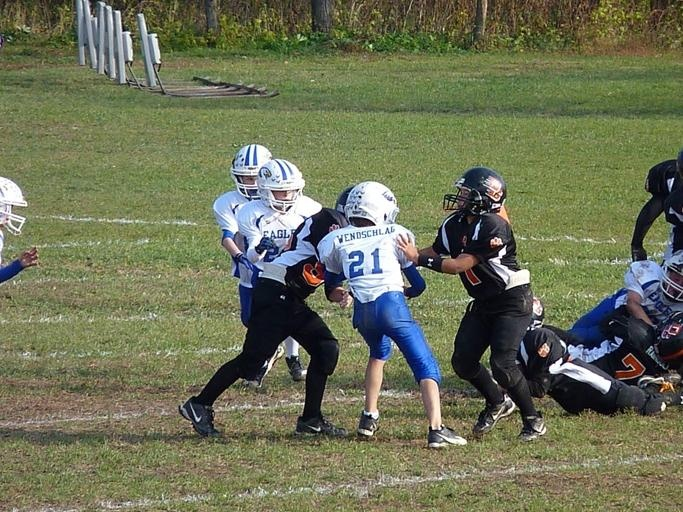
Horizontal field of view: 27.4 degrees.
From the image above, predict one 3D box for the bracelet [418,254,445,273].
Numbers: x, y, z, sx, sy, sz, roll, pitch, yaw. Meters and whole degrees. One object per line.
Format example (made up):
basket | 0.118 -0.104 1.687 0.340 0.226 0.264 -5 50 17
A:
bracelet | 1.305 0.098 20.566 0.374 0.243 0.281 4 14 3
